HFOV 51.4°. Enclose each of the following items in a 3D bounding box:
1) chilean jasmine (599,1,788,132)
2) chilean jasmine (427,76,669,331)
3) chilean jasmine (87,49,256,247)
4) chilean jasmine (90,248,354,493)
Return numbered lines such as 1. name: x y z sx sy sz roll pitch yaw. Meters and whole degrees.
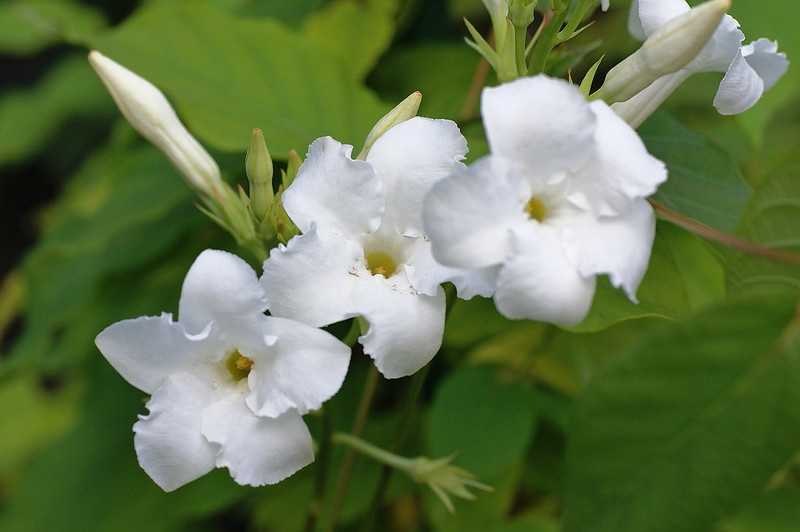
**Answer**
1. chilean jasmine: 0.660 -0.431 1.973 0.382 0.200 0.279 -30 82 -8
2. chilean jasmine: 0.288 -0.114 1.780 0.523 0.223 0.504 -17 87 -4
3. chilean jasmine: -0.594 -0.306 2.178 0.632 0.139 0.129 46 53 -13
4. chilean jasmine: -0.410 0.283 1.793 0.521 0.165 0.550 32 34 -1
